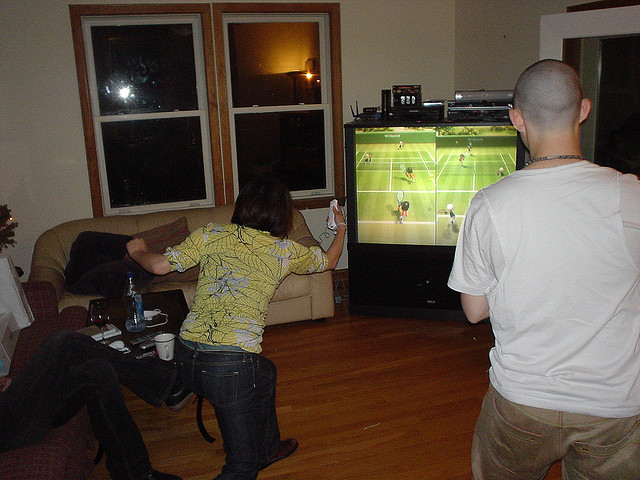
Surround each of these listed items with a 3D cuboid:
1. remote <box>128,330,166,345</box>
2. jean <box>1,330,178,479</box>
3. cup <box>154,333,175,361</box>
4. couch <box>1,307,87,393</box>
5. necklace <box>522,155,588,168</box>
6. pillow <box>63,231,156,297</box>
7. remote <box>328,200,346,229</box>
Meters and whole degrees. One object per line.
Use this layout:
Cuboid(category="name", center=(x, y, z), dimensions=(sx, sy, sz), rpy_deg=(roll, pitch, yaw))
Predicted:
Cuboid(category="remote", center=(-1.071, 0.603, 2.992), dimensions=(0.063, 0.023, 0.219), rpy_deg=(12, 20, 32))
Cuboid(category="jean", center=(-1.171, 0.734, 2.581), dimensions=(0.831, 0.844, 0.370), rpy_deg=(3, 14, 2))
Cuboid(category="cup", center=(-0.883, 0.607, 2.782), dimensions=(0.102, 0.106, 0.150), rpy_deg=(-1, 21, -4))
Cuboid(category="couch", center=(-1.939, 0.674, 3.398), dimensions=(0.377, 0.282, 0.692), rpy_deg=(17, 33, 29))
Cuboid(category="necklace", center=(0.763, -0.262, 1.586), dimensions=(0.169, 0.039, 0.150), rpy_deg=(5, 15, 28))
Cuboid(category="pillow", center=(-1.838, 0.196, 4.174), dimensions=(0.577, 0.453, 0.811), rpy_deg=(-14, 17, -42))
Cuboid(category="remote", center=(0.094, -0.159, 3.364), dimensions=(0.058, 0.242, 0.060), rpy_deg=(0, 4, 17))
